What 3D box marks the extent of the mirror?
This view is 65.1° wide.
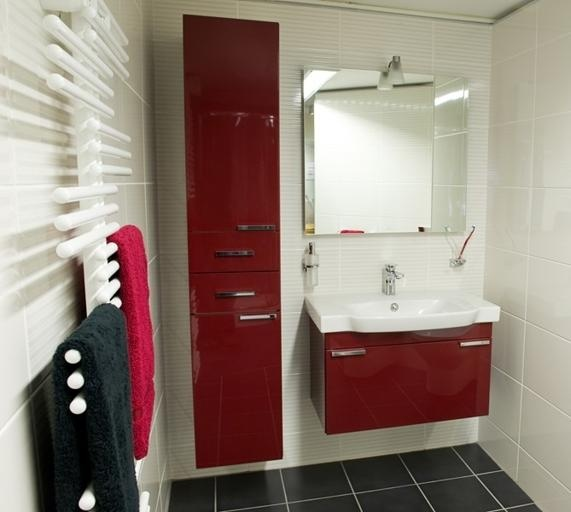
[{"bbox_3d":[0.493,-0.575,2.327,0.838,0.848,0.037,-1,5,-12],"label":"mirror"}]

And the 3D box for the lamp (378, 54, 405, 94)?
[{"bbox_3d":[0.536,-0.918,2.277,0.077,0.146,0.194,4,1,-5],"label":"lamp"}]
